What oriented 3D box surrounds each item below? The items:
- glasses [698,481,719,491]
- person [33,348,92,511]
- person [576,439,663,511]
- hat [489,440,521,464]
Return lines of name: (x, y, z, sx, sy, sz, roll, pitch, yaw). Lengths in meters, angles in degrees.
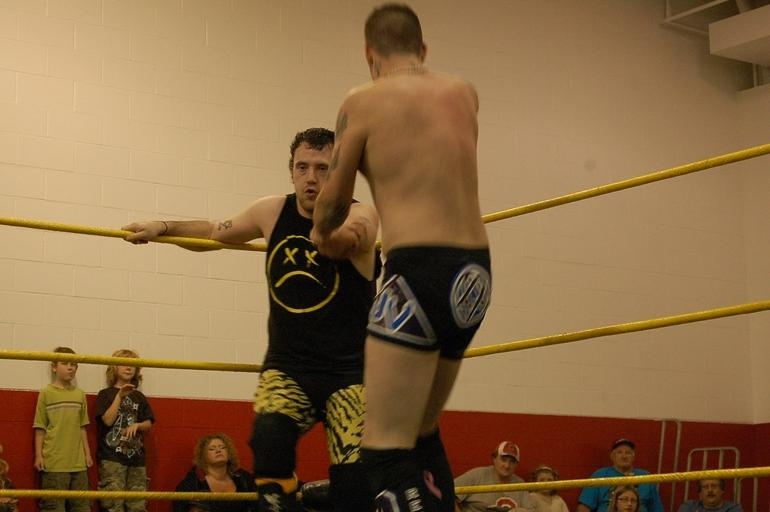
glasses: (3.317, 2.372, 9.903, 0.124, 0.070, 0.157, -2, -3, 20)
person: (-3.052, 1.625, 9.211, 0.569, 1.175, 0.333, 6, -5, -18)
person: (2.546, 2.395, 10.456, 1.170, 0.767, 0.838, 9, -7, -41)
hat: (1.255, 2.055, 10.094, 0.217, 0.170, 0.313, 11, -15, -4)
